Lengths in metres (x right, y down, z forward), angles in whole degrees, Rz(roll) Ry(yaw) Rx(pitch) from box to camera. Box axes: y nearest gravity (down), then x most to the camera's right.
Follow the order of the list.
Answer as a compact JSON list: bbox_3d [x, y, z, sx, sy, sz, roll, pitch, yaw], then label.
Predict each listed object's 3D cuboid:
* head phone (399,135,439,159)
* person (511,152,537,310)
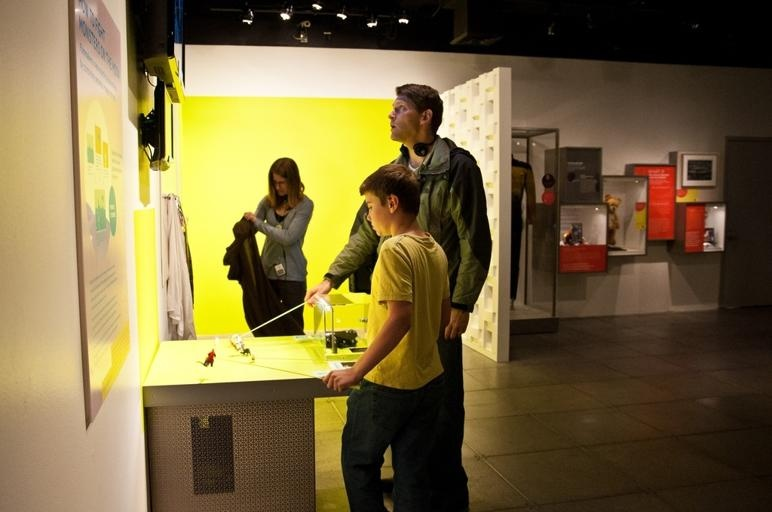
[{"bbox_3d":[0.182,-0.615,3.188,0.247,0.104,0.273,-10,3,25],"label":"head phone"},{"bbox_3d":[1.797,-0.286,7.390,0.246,2.010,0.533,5,8,36],"label":"person"}]
